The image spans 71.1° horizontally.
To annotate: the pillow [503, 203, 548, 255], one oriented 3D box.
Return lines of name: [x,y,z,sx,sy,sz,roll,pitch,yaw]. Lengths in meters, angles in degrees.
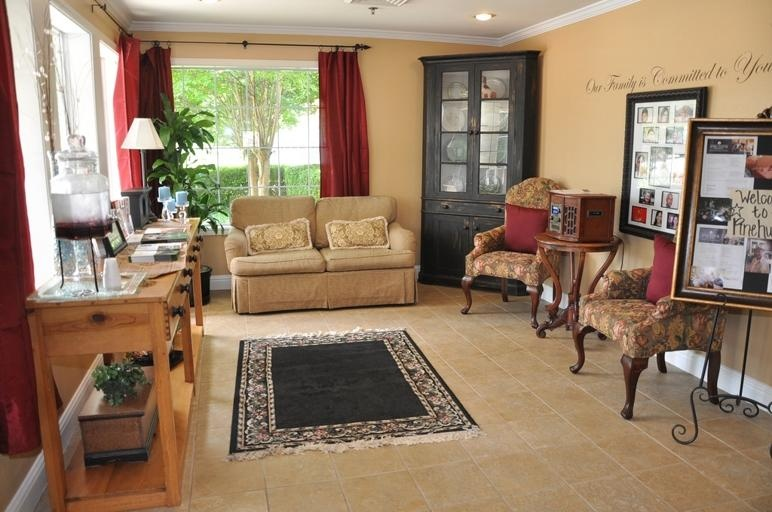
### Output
pillow: [1.480,-0.282,5.676,0.580,0.572,0.211,1,-4,30]

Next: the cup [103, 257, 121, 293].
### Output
cup: [-1.516,0.103,2.988,0.092,0.177,0.106,-7,13,-23]

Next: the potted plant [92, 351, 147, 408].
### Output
potted plant: [-1.613,0.758,3.326,0.282,0.182,0.273,8,6,-6]

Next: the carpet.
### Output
carpet: [-0.330,1.030,4.275,1.683,0.218,1.606,-3,11,-11]

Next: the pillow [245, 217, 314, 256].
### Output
pillow: [-1.169,-0.212,6.010,0.614,0.373,0.147,-6,-13,-25]

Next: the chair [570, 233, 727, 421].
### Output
chair: [2.015,0.500,4.059,0.819,1.219,0.999,-4,12,-14]

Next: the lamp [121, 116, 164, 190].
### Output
lamp: [-2.403,-1.020,5.355,0.353,0.676,0.883,-7,12,-24]
